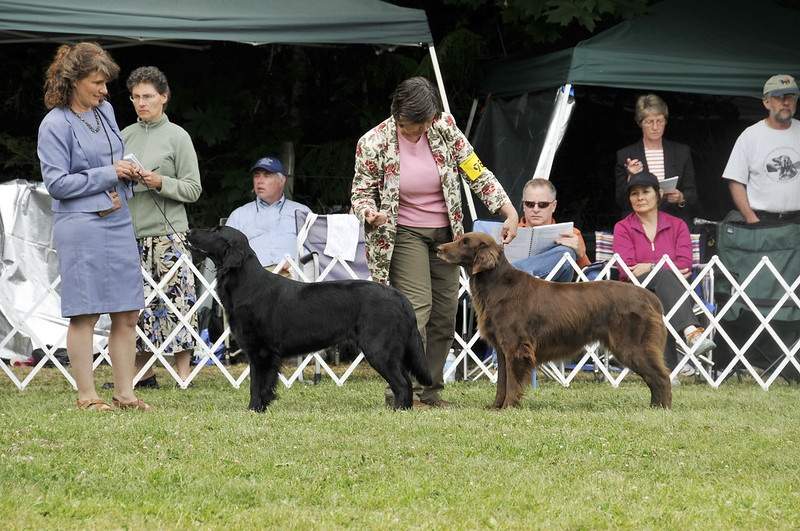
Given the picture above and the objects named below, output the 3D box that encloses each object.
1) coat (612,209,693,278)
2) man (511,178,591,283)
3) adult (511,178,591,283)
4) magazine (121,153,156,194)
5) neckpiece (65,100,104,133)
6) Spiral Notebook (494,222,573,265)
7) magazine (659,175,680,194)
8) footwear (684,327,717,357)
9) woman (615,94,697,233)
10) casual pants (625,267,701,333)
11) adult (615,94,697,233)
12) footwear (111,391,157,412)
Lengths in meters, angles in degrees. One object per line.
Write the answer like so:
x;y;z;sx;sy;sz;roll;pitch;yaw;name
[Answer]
2.609;-0.231;10.315;1.022;1.041;0.625;-1;-1;3;coat
1.577;-0.366;9.983;1.055;1.393;0.958;-1;0;10;man
1.542;-0.386;9.954;1.055;1.393;0.958;-1;0;10;adult
-2.350;-0.821;8.618;0.094;0.330;0.326;-25;-8;9;magazine
-2.624;-1.276;8.185;0.009;0.233;0.184;-13;6;44;neckpiece
1.306;-0.200;9.268;0.466;0.098;0.507;-9;-35;1;Spiral Notebook
2.868;-0.856;10.188;0.060;0.188;0.265;27;19;39;magazine
3.068;0.797;9.695;0.281;0.326;0.287;-1;10;-3;footwear
2.994;-0.736;10.967;0.860;2.349;0.870;-3;7;4;woman
2.749;0.344;9.821;0.292;0.747;0.456;-12;-2;-28;casual pants
2.973;-0.753;10.974;0.859;2.377;0.864;-2;8;6;adult
-2.300;1.190;8.289;0.348;0.100;0.146;2;-2;0;footwear
